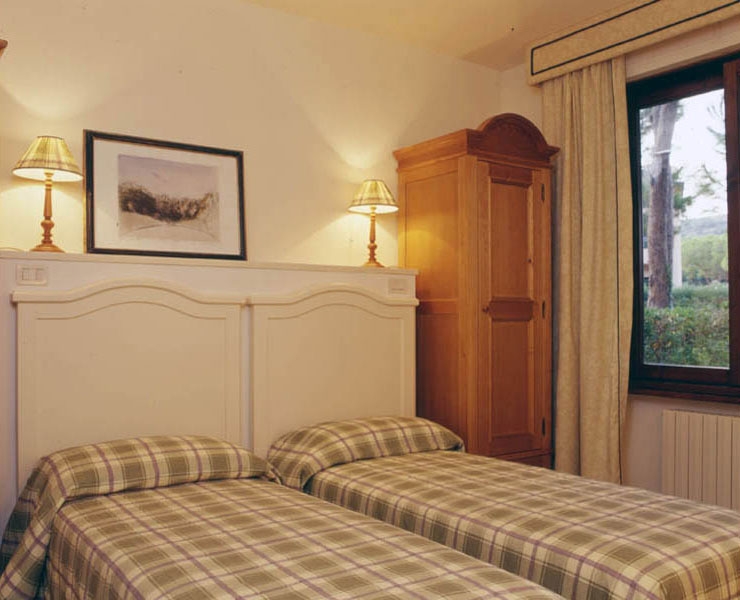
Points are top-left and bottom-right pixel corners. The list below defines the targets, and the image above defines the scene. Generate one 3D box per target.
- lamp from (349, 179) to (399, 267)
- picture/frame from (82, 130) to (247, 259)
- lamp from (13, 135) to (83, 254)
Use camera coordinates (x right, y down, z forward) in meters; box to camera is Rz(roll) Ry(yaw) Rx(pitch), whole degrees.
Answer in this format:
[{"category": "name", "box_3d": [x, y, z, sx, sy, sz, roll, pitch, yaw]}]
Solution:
[{"category": "lamp", "box_3d": [0.011, -0.434, 3.503, 0.298, 0.457, 0.285, 1, 0, -23]}, {"category": "picture/frame", "box_3d": [-1.030, -0.503, 2.971, 0.747, 0.496, 0.032, 2, -4, -34]}, {"category": "lamp", "box_3d": [-1.395, -0.468, 2.665, 0.279, 0.525, 0.323, -1, 3, -30]}]
